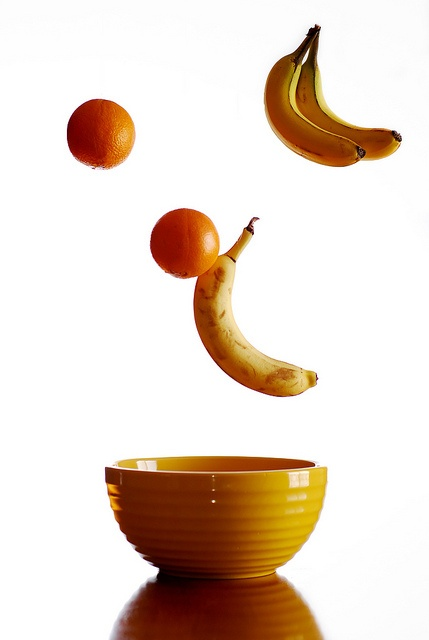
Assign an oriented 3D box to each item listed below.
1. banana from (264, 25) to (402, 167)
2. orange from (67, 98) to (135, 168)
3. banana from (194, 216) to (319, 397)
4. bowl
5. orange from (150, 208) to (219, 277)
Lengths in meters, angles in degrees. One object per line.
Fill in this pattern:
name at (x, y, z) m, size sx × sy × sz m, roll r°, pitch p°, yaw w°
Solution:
banana at (0.184, -0.334, 1.200) m, size 0.163 × 0.272 × 0.160 m, roll -35°, pitch -41°, yaw 18°
orange at (-0.153, -0.257, 0.982) m, size 0.086 × 0.106 × 0.090 m, roll -4°, pitch 9°, yaw 4°
banana at (0.047, 0.003, 1.150) m, size 0.154 × 0.221 × 0.194 m, roll -21°, pitch -39°, yaw 1°
bowl at (0.021, 0.219, 0.810) m, size 0.215 × 0.117 × 0.222 m, roll -1°, pitch -7°, yaw 0°
orange at (-0.044, -0.110, 0.993) m, size 0.101 × 0.109 × 0.107 m, roll 4°, pitch 5°, yaw 22°
